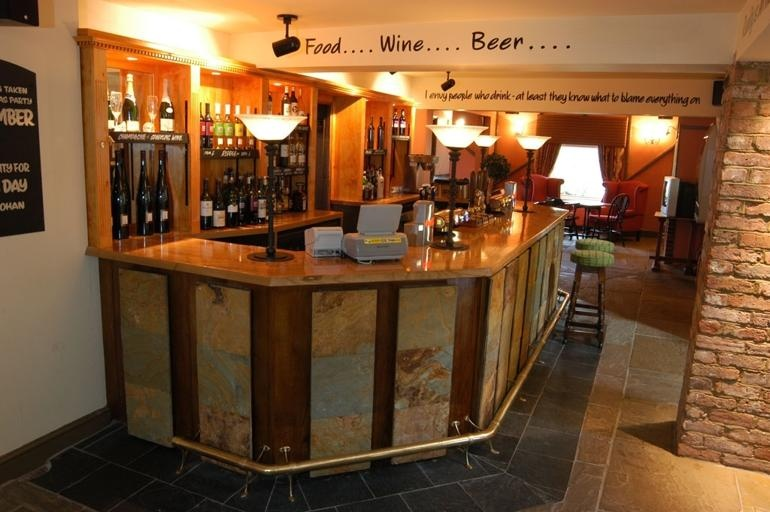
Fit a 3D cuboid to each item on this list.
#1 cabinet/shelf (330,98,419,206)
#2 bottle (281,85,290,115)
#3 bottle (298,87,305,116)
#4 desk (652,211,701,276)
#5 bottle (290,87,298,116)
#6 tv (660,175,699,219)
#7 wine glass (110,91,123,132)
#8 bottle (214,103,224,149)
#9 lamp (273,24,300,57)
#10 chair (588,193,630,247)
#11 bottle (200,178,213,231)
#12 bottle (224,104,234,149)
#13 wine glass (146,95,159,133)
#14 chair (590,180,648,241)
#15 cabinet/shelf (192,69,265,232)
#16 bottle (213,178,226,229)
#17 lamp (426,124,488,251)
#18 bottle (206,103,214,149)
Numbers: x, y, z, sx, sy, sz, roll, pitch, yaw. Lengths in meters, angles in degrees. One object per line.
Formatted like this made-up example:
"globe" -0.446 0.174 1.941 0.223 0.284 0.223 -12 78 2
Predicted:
"cabinet/shelf" -0.166 -1.538 8.150 0.535 1.403 1.712 8 16 27
"bottle" -1.120 -1.783 6.418 0.088 0.298 0.325 -2 14 -9
"bottle" -0.956 -1.806 6.559 0.096 0.272 0.093 1 14 0
"desk" 5.323 -0.248 10.220 1.023 1.065 1.184 4 9 26
"bottle" -1.039 -1.785 6.493 0.082 0.265 0.224 0 14 -2
"tv" 5.129 -1.025 9.806 0.547 0.638 0.695 5 10 24
"wine glass" -2.342 -1.282 4.906 0.123 0.332 0.317 -5 15 -23
"bottle" -1.700 -1.357 5.761 0.092 0.433 0.218 -3 15 -16
"lamp" -0.983 -2.119 5.574 0.243 0.269 0.431 -2 14 -11
"chair" 5.031 -0.854 12.592 0.658 1.035 0.688 -1 8 -30
"bottle" -1.746 -0.521 5.505 0.130 0.481 0.215 -3 15 -16
"bottle" -1.605 -1.365 5.814 0.098 0.430 0.275 -3 14 -14
"wine glass" -2.089 -1.277 5.035 0.123 0.304 0.474 -5 15 -21
"chair" 5.269 -1.076 12.905 1.162 1.310 1.154 -5 11 -14
"cabinet/shelf" -1.448 -1.063 5.722 0.862 1.489 0.419 -6 -2 10
"bottle" -1.661 -0.536 5.652 0.125 0.451 0.369 -3 15 -16
"lamp" 0.691 -0.734 5.483 0.488 1.068 1.473 3 14 9
"bottle" -1.755 -1.322 5.638 0.086 0.424 0.314 -3 15 -16
